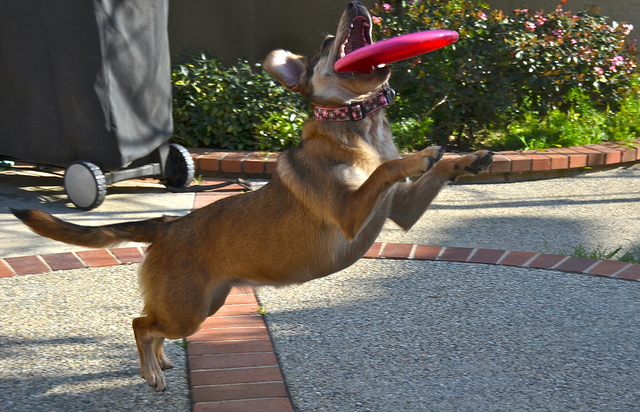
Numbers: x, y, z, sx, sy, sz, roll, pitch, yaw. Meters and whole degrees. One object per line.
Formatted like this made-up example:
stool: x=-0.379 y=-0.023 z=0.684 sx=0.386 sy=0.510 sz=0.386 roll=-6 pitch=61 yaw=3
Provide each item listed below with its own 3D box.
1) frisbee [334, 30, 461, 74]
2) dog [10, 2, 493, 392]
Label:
frisbee: x=0.457 y=-0.885 z=2.923 sx=0.696 sy=0.276 sz=0.221 roll=-10 pitch=36 yaw=-33
dog: x=-0.411 y=0.008 z=3.142 sx=1.730 sy=2.557 sz=0.956 roll=-2 pitch=36 yaw=-24
